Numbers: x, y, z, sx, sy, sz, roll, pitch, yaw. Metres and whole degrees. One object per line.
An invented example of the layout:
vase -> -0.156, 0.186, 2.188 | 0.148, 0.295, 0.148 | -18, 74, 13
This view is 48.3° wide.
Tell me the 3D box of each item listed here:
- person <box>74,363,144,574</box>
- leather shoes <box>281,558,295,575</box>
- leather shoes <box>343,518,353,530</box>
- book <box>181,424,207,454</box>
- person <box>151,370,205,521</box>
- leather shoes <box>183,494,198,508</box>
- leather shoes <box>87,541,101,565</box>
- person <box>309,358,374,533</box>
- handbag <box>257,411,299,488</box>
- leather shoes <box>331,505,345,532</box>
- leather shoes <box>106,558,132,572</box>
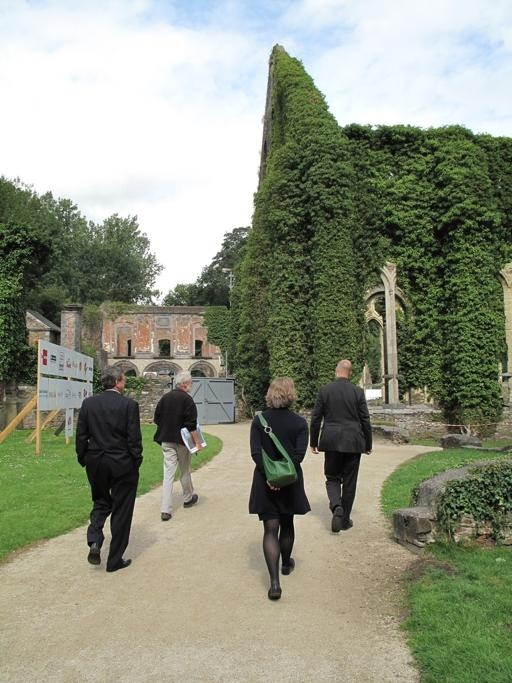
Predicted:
person -> -1.262, 1.230, 5.009 | 0.511, 1.091, 0.388 | -1, -1, -27
leather shoes -> 0.290, 1.943, 4.976 | 0.080, 0.129, 0.195 | 1, 24, 11
leather shoes -> 1.058, 2.053, 6.467 | 0.083, 0.108, 0.164 | 3, 24, 13
book -> -0.774, 1.217, 7.023 | 0.297, 0.240, 0.274 | -2, -1, -16
person -> -0.983, 1.312, 7.296 | 0.601, 1.293, 0.913 | -2, -1, -11
leather shoes -> -0.872, 2.178, 7.752 | 0.088, 0.101, 0.238 | 5, 10, 18
leather shoes -> -1.363, 1.777, 4.788 | 0.116, 0.232, 0.106 | -2, -6, 6
person -> 0.922, 1.140, 6.237 | 0.500, 1.571, 0.483 | -3, -1, 40
handbag -> 0.165, 0.869, 4.530 | 0.220, 0.460, 0.402 | -2, -1, -11
leather shoes -> 0.881, 1.916, 6.127 | 0.126, 0.339, 0.161 | 1, -2, -1
leather shoes -> -1.190, 1.979, 5.060 | 0.077, 0.096, 0.237 | 16, 18, 34
